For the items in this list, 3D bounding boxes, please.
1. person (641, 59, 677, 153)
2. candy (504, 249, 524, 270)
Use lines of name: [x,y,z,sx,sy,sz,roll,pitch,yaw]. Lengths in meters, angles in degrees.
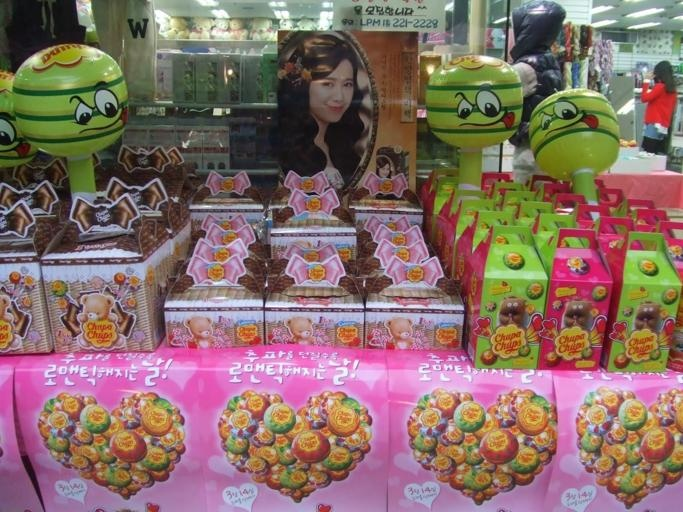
person: [4.702,-2.200,7.769,0.443,1.336,0.470,9,22,26]
candy: [0.547,0.014,1.646,0.062,0.043,0.045,-12,23,-28]
